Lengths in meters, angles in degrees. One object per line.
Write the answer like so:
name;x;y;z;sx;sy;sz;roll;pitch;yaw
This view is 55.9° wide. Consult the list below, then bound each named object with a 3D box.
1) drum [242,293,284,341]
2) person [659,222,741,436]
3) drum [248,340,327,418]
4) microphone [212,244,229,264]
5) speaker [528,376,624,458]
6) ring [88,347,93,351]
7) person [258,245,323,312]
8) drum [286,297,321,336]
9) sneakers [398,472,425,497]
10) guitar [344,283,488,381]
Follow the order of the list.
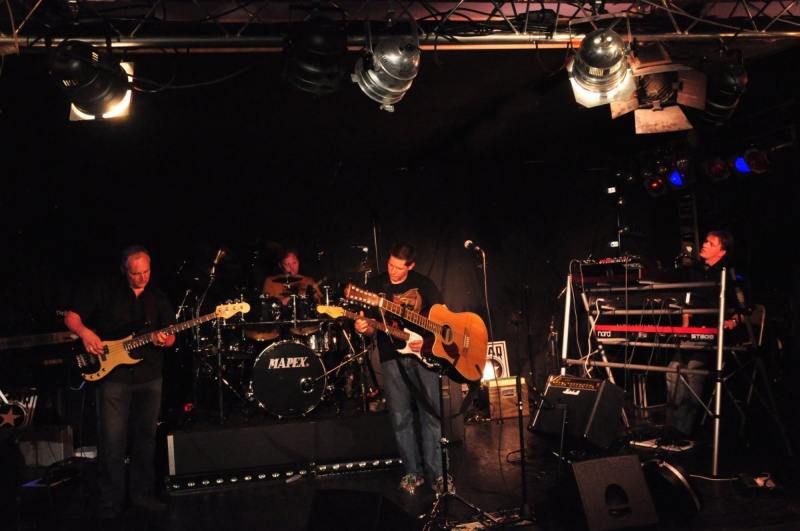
drum;-1.983;0.766;10.897;0.668;0.689;0.731;2;-12;-21
person;4.252;0.888;10.755;1.108;3.041;1.585;-4;-12;19
drum;-1.472;1.555;10.587;1.083;1.024;0.628;-3;3;11
microphone;-2.883;-0.176;12.083;0.168;0.159;0.314;0;-31;-45
speaker;2.354;1.939;10.288;0.814;0.618;0.806;3;34;32
ring;-3.751;1.009;9.166;0.055;0.064;0.030;3;-11;-18
person;-1.612;0.190;11.328;0.783;0.888;0.325;2;-14;-31
drum;-1.373;0.697;10.706;0.428;0.581;0.194;-16;3;-30
sneakers;0.127;2.762;9.569;0.314;0.190;0.130;-9;3;-30
guitar;0.225;0.744;9.375;2.190;1.020;0.295;29;-46;-26
